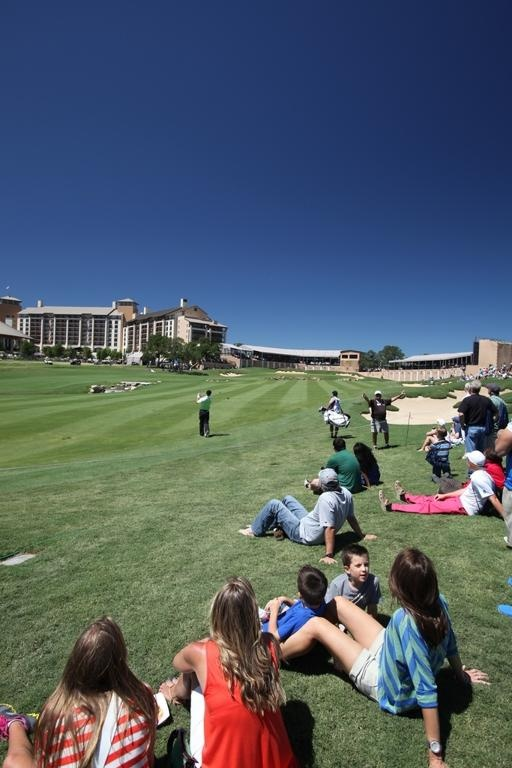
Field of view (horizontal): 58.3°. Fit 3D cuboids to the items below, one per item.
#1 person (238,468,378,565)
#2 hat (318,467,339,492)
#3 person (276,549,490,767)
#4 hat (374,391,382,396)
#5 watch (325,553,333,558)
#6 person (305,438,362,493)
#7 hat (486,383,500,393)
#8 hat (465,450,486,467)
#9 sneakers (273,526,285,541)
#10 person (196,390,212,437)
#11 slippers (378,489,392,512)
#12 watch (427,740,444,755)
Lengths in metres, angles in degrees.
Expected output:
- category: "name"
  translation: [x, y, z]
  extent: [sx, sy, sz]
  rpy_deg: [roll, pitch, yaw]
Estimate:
- category: "person"
  translation: [0.603, 1.887, 6.359]
  extent: [1.810, 1.055, 1.263]
  rpy_deg: [-3, -2, 41]
- category: "hat"
  translation: [0.920, 1.386, 5.857]
  extent: [0.234, 0.328, 0.322]
  rpy_deg: [1, 1, 10]
- category: "person"
  translation: [0.960, 1.993, 3.774]
  extent: [1.201, 1.115, 1.761]
  rpy_deg: [8, -5, -38]
- category: "hat"
  translation: [3.640, 0.305, 13.846]
  extent: [0.211, 0.107, 0.341]
  rpy_deg: [-3, -1, 13]
- category: "watch"
  translation: [0.872, 2.305, 5.601]
  extent: [0.065, 0.069, 0.076]
  rpy_deg: [3, 3, 16]
- category: "person"
  translation: [1.417, 1.607, 8.262]
  extent: [0.858, 1.014, 1.178]
  rpy_deg: [-1, -3, -27]
- category: "hat"
  translation: [4.822, 0.135, 9.381]
  extent: [0.236, 0.183, 0.325]
  rpy_deg: [7, 29, 21]
- category: "hat"
  translation: [3.181, 1.201, 6.691]
  extent: [0.223, 0.166, 0.295]
  rpy_deg: [4, 27, 14]
- category: "sneakers"
  translation: [0.317, 2.297, 6.360]
  extent: [0.129, 0.084, 0.176]
  rpy_deg: [4, -7, 21]
- category: "person"
  translation: [-2.104, 1.318, 18.601]
  extent: [0.467, 2.082, 1.494]
  rpy_deg: [1, 1, -7]
- category: "slippers"
  translation: [2.009, 2.104, 7.339]
  extent: [0.153, 0.447, 0.202]
  rpy_deg: [-7, -2, -45]
- category: "watch"
  translation: [1.092, 2.486, 2.814]
  extent: [0.074, 0.094, 0.052]
  rpy_deg: [1, 1, 10]
